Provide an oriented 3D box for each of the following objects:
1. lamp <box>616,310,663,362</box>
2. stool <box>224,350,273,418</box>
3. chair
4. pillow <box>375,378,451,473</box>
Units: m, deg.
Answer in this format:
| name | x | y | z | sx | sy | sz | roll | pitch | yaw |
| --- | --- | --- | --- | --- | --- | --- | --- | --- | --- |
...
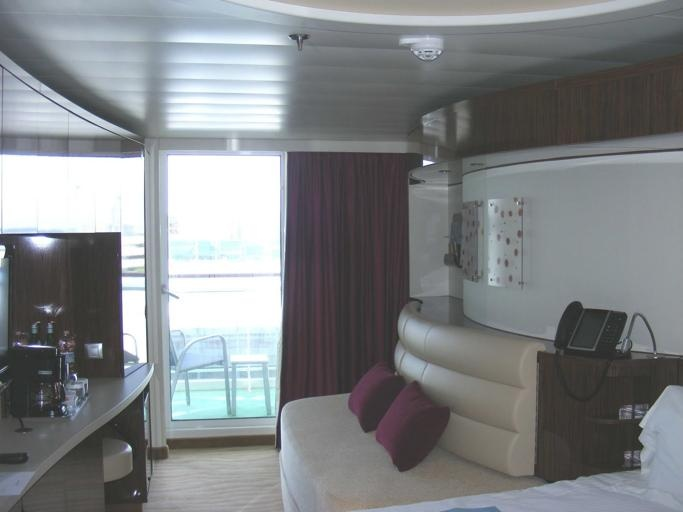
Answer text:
| name | x | y | z | sx | sy | sz | roll | pitch | yaw |
| --- | --- | --- | --- | --- | --- | --- | --- | --- | --- |
| lamp | 1.750 | 0.470 | 3.407 | 0.252 | 0.293 | 0.211 | 1 | 4 | 8 |
| stool | -0.935 | 1.278 | 5.755 | 0.515 | 0.755 | 0.543 | -1 | -1 | -9 |
| chair | -1.438 | 1.106 | 5.675 | 0.673 | 1.028 | 0.635 | 1 | -3 | -12 |
| pillow | 0.443 | 1.131 | 3.803 | 0.427 | 0.362 | 0.415 | -12 | 12 | -26 |
